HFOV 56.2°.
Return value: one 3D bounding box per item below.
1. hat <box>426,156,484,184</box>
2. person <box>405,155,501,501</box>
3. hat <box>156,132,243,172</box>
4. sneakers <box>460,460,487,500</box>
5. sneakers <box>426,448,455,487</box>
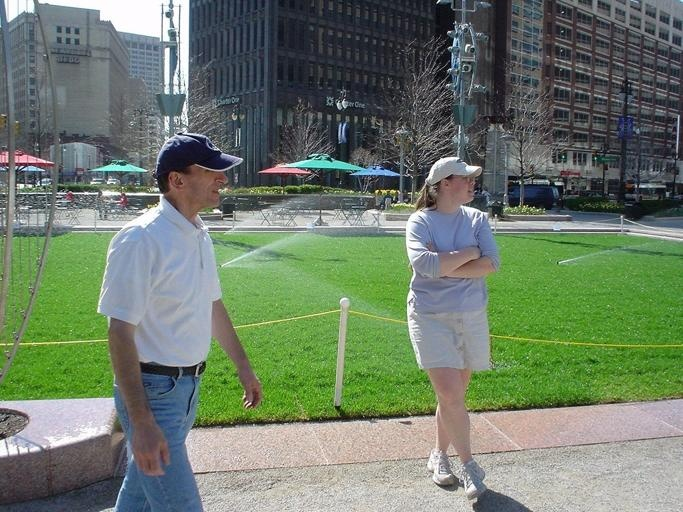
[{"bbox_3d":[0.870,-0.691,5.046,0.336,0.182,0.224,-12,13,12],"label":"hat"},{"bbox_3d":[0.881,0.709,4.977,0.699,2.222,0.737,-1,6,-1],"label":"person"},{"bbox_3d":[-0.862,-0.611,3.777,0.391,0.171,0.258,1,17,-9],"label":"hat"},{"bbox_3d":[0.984,1.670,4.763,0.154,0.131,0.365,40,8,5],"label":"sneakers"},{"bbox_3d":[0.786,1.690,5.063,0.130,0.142,0.307,0,-7,-10],"label":"sneakers"}]
